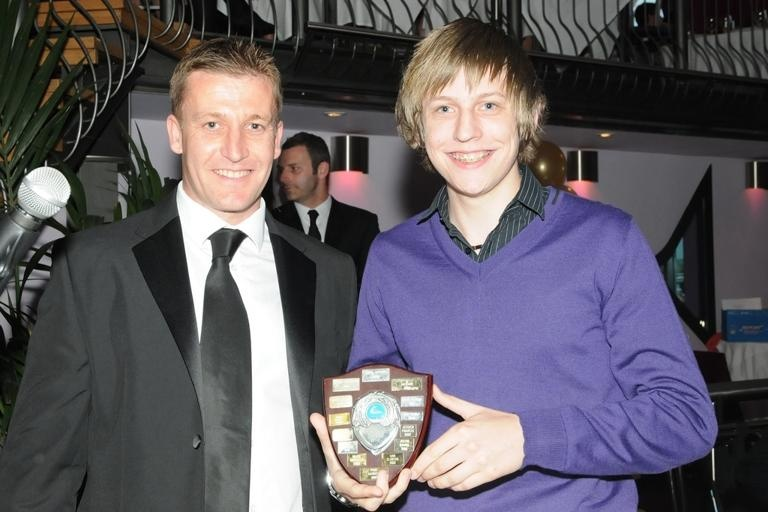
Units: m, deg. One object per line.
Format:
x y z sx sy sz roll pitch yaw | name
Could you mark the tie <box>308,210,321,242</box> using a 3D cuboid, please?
-0.536 -0.234 5.131 0.079 0.320 0.083 -3 -35 6 | tie
